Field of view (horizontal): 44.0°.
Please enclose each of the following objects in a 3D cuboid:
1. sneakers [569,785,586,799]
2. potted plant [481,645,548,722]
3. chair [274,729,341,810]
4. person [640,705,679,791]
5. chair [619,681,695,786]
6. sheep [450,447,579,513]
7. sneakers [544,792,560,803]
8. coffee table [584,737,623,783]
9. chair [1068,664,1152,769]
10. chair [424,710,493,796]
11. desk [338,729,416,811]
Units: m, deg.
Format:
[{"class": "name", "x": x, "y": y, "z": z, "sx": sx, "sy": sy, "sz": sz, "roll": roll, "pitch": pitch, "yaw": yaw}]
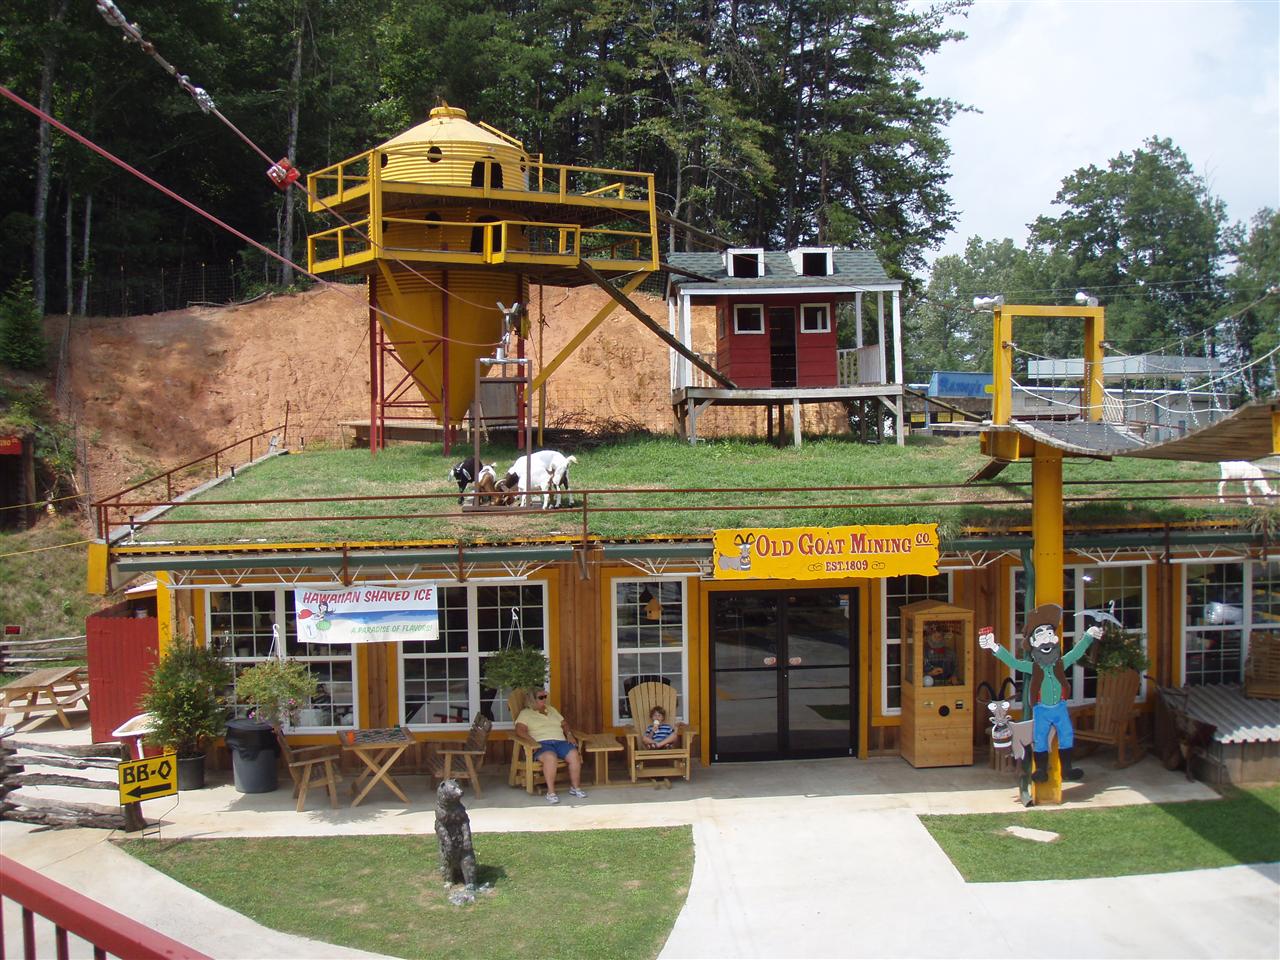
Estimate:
[{"class": "sneakers", "x": -1.159, "y": 5.824, "z": 29.690, "sx": 0.131, "sy": 0.127, "sz": 0.297, "roll": -2, "pitch": 1, "yaw": -44}, {"class": "potted plant", "x": -2.156, "y": 3.785, "z": 30.413, "sx": 1.409, "sy": 1.359, "sz": 1.392, "roll": -3, "pitch": -2, "yaw": 8}, {"class": "chair", "x": -6.209, "y": 5.439, "z": 29.964, "sx": 1.391, "sy": 1.807, "sz": 1.338, "roll": 0, "pitch": 2, "yaw": -12}, {"class": "person", "x": 0.429, "y": 4.998, "z": 30.367, "sx": 0.416, "sy": 1.420, "sz": 0.522, "roll": -3, "pitch": -3, "yaw": 35}, {"class": "chair", "x": 0.296, "y": 4.759, "z": 30.033, "sx": 1.271, "sy": 1.450, "sz": 1.735, "roll": -1, "pitch": 6, "yaw": -14}, {"class": "sheep", "x": -2.441, "y": -0.008, "z": 32.006, "sx": 3.367, "sy": 1.291, "sz": 0.983, "roll": -6, "pitch": 1, "yaw": 11}, {"class": "sneakers", "x": -1.628, "y": 5.862, "z": 29.471, "sx": 0.211, "sy": 0.192, "sz": 0.227, "roll": -1, "pitch": -2, "yaw": -3}, {"class": "coffee table", "x": -0.680, "y": 5.218, "z": 30.268, "sx": 0.736, "sy": 0.638, "sz": 1.339, "roll": 0, "pitch": 0, "yaw": -3}, {"class": "chair", "x": 9.353, "y": 4.546, "z": 31.128, "sx": 1.457, "sy": 2.044, "sz": 1.913, "roll": -3, "pitch": 2, "yaw": 42}, {"class": "chair", "x": -3.408, "y": 5.359, "z": 29.999, "sx": 1.009, "sy": 1.223, "sz": 1.090, "roll": 2, "pitch": -13, "yaw": 1}, {"class": "desk", "x": -4.914, "y": 5.397, "z": 29.890, "sx": 1.597, "sy": 1.123, "sz": 1.597, "roll": 0, "pitch": 0, "yaw": 15}]
